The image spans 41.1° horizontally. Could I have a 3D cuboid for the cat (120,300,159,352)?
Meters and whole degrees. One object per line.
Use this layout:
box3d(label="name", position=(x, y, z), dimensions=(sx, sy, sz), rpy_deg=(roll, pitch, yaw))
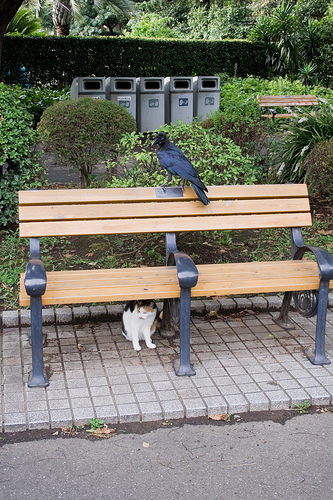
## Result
box3d(label="cat", position=(-0.186, 0.533, 3.329), dimensions=(0.258, 0.420, 0.377), rpy_deg=(-1, 13, -14))

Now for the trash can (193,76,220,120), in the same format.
box3d(label="trash can", position=(1.416, -4.831, 14.278), dimensions=(0.779, 1.370, 0.735), rpy_deg=(2, 29, 8))

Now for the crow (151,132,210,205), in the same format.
box3d(label="crow", position=(0.070, -0.666, 3.358), dimensions=(0.431, 0.560, 0.437), rpy_deg=(-6, 30, -46))

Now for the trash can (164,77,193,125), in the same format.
box3d(label="trash can", position=(0.479, -4.720, 14.261), dimensions=(1.045, 1.387, 1.034), rpy_deg=(13, 23, 28))

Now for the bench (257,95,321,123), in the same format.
box3d(label="bench", position=(2.651, -3.159, 9.854), dimensions=(1.051, 0.790, 2.154), rpy_deg=(7, 13, 25))

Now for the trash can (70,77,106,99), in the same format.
box3d(label="trash can", position=(-2.358, -4.757, 13.193), dimensions=(0.985, 0.650, 1.815), rpy_deg=(-1, 12, -11))
